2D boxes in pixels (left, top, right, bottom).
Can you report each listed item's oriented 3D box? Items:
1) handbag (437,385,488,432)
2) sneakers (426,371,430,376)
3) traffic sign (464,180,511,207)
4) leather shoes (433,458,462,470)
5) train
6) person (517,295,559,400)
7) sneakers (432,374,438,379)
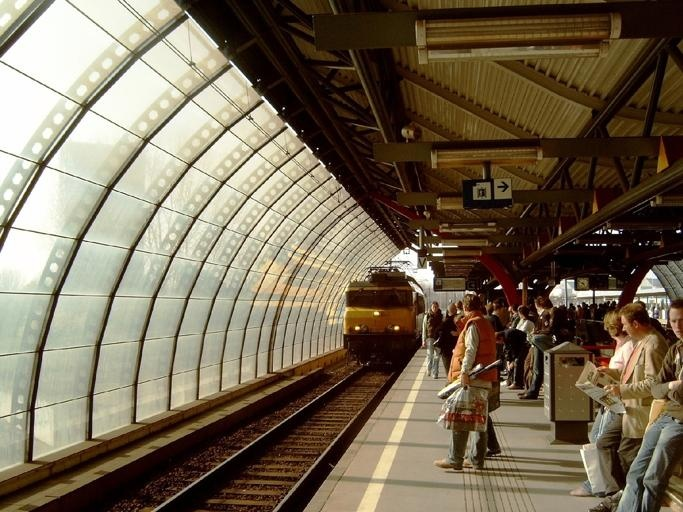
[{"bbox_3d":[1.897,2.318,7.142,0.711,0.787,0.466,10,24,18],"label":"handbag"},{"bbox_3d":[3.145,4.180,16.699,0.118,0.179,0.282,-8,-8,-2],"label":"sneakers"},{"bbox_3d":[3.130,-1.355,10.049,1.098,0.589,0.702,-2,-4,13],"label":"traffic sign"},{"bbox_3d":[1.711,3.314,7.469,0.438,0.194,0.166,2,-4,24],"label":"leather shoes"},{"bbox_3d":[1.971,3.131,23.710,2.337,3.048,6.461,0,-2,7],"label":"train"},{"bbox_3d":[5.298,2.355,12.092,1.057,2.757,1.011,6,-3,-30],"label":"person"},{"bbox_3d":[3.295,4.181,16.272,0.141,0.092,0.129,0,-5,4],"label":"sneakers"}]
